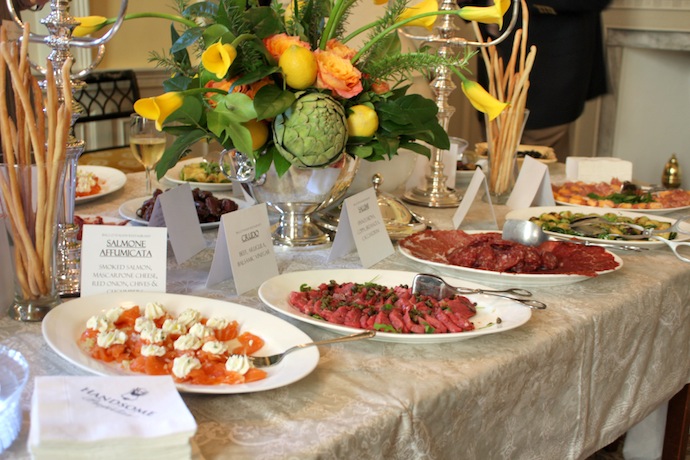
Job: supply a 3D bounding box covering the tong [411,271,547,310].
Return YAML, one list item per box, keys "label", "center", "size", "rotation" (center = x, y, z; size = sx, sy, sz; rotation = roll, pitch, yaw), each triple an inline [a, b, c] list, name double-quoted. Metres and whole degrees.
- label: "tong"
  center: [0.259, 0.118, 1.029]
  size: [0.170, 0.029, 0.047]
  rotation: [10, -1, -4]

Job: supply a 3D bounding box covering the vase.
- label: "vase"
  center: [-0.122, -0.071, 1.347]
  size: [0.295, 0.215, 0.298]
  rotation: [-4, 8, 17]

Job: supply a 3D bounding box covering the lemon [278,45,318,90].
- label: "lemon"
  center: [-0.096, -0.330, 1.078]
  size: [0.076, 0.087, 0.042]
  rotation: [-1, 14, -6]

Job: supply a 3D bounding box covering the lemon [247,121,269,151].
- label: "lemon"
  center: [-0.183, -0.196, 1.109]
  size: [0.033, 0.063, 0.064]
  rotation: [3, 14, 7]

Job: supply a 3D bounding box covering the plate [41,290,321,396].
- label: "plate"
  center: [-0.254, 0.149, 0.865]
  size: [0.281, 0.029, 0.198]
  rotation: [14, 18, 4]

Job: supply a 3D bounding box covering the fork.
- label: "fork"
  center: [-0.061, 0.187, 0.844]
  size: [0.176, 0.024, 0.031]
  rotation: [-8, 21, -3]

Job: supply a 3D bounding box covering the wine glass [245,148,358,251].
- label: "wine glass"
  center: [-0.093, -0.077, 1.240]
  size: [0.229, 0.169, 0.233]
  rotation: [1, 12, 3]

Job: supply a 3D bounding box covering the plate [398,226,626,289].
- label: "plate"
  center: [0.370, 0.065, 1.142]
  size: [0.288, 0.038, 0.208]
  rotation: [-1, 10, -9]
